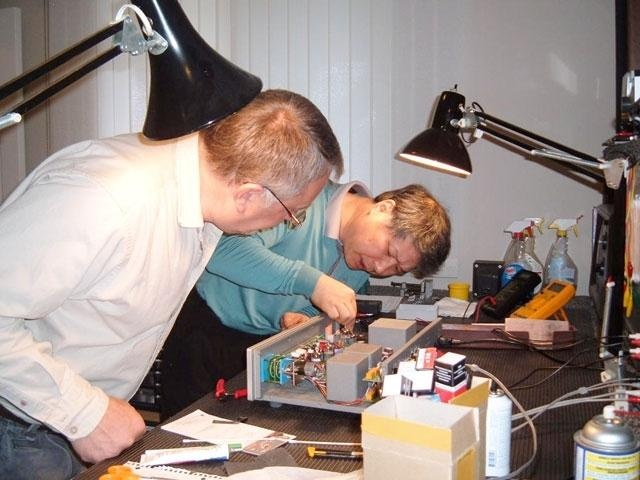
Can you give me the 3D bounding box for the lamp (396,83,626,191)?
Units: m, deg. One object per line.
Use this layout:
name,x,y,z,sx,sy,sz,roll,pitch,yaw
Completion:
lamp,1.036,-0.540,2.846,0.943,0.414,0.329,23,34,28

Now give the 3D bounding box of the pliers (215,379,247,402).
pliers,-0.274,0.456,1.701,0.066,0.017,0.064,11,6,4
